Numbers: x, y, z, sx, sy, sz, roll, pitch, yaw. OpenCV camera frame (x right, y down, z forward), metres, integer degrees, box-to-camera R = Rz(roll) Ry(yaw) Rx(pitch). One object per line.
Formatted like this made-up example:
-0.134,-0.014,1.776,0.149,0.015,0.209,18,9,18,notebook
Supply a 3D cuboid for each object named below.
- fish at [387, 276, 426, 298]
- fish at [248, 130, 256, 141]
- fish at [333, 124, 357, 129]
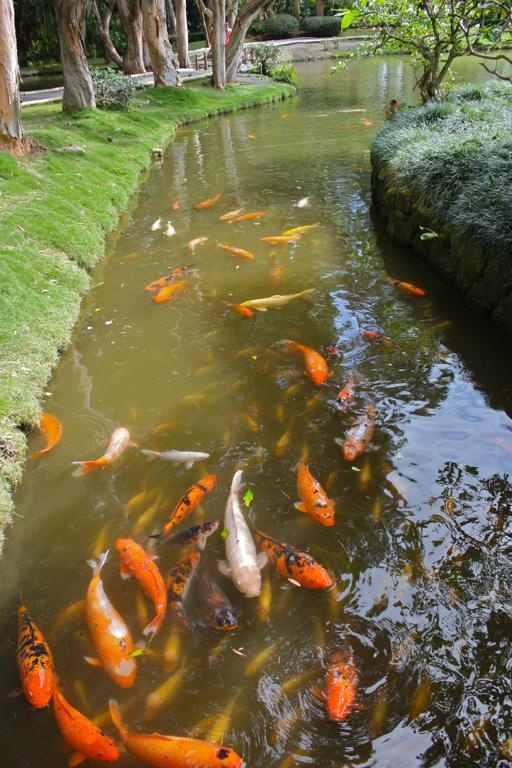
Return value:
1.783,-1.144,7.744,0.194,0.086,0.447,-14,30,-28,fish
-0.115,-6.642,17.443,0.181,0.274,0.606,1,37,-7,fish
2.413,-6.988,17.623,0.538,0.077,0.814,-1,24,9,fish
